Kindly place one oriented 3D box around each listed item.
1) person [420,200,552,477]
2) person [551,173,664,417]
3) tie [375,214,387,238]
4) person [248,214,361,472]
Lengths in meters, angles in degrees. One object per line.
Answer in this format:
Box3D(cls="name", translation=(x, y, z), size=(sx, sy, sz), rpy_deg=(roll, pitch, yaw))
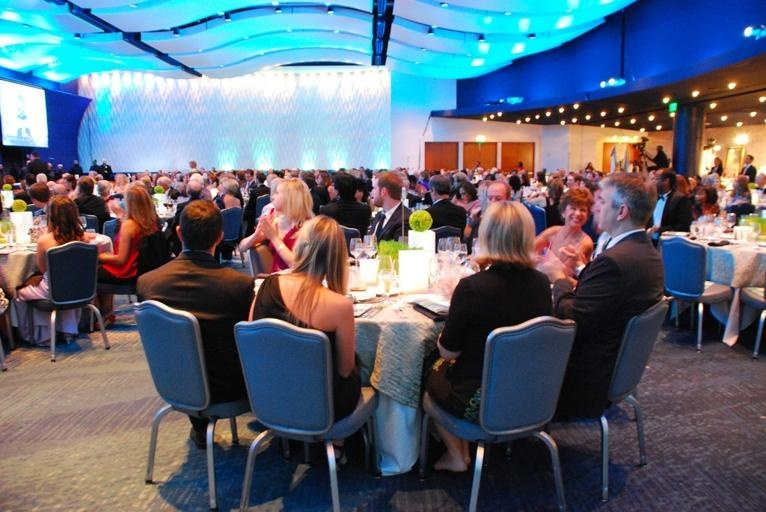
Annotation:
Box3D(cls="person", translation=(0.677, 0.337, 3.328), size=(0.807, 1.359, 0.446), rpy_deg=(-4, 9, -12))
Box3D(cls="person", translation=(1.512, 0.266, 3.549), size=(0.745, 1.618, 0.474), rpy_deg=(-6, 10, -23))
Box3D(cls="tie", translation=(-0.024, -0.344, 5.816), size=(0.060, 0.252, 0.138), rpy_deg=(16, -12, -38))
Box3D(cls="person", translation=(-0.456, 0.404, 3.252), size=(0.607, 1.288, 0.282), rpy_deg=(-4, 9, -10))
